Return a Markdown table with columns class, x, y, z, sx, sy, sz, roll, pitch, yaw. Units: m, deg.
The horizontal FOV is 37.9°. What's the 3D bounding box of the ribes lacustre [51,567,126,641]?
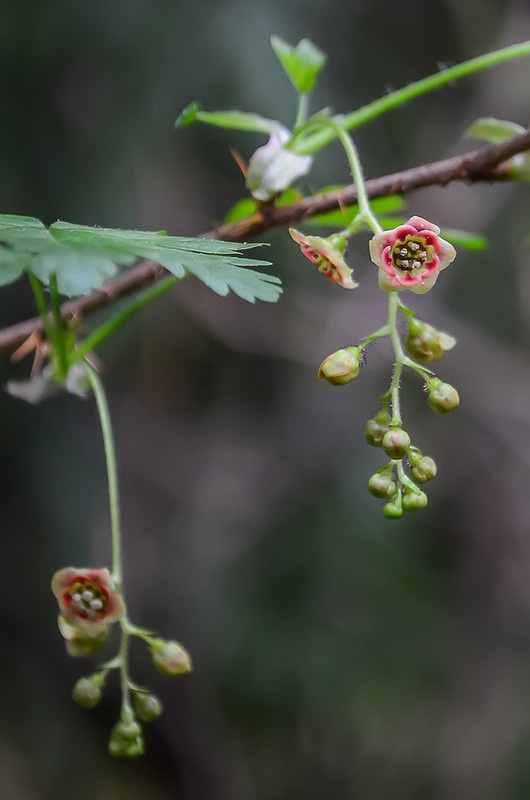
| class | x | y | z | sx | sy | sz | roll | pitch | yaw |
| --- | --- | --- | --- | --- | --- | --- | --- | --- | --- |
| ribes lacustre | -0.310 | 0.346 | 1.278 | 0.105 | 0.045 | 0.123 | 37 | 11 | 10 |
